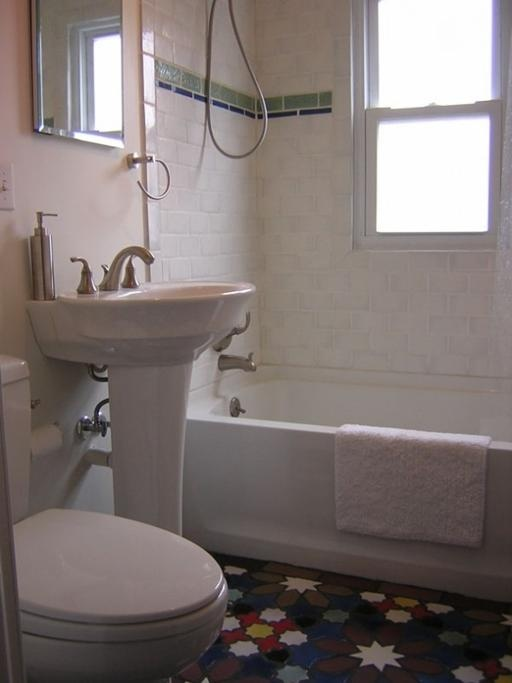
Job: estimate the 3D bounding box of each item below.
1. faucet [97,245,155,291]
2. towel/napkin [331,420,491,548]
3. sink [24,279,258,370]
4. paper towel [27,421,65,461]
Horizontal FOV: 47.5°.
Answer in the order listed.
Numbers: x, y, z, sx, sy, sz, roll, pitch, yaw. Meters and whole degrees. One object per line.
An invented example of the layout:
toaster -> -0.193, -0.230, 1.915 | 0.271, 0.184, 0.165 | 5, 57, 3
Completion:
faucet -> -0.344, -0.205, 1.645 | 0.230, 0.150, 0.100 | 10, 12, 42
towel/napkin -> 0.476, 0.437, 1.773 | 0.437, 0.342, 0.169 | 0, 4, 23
sink -> -0.283, -0.038, 1.416 | 0.296, 0.114, 0.332 | 2, 9, 14
paper towel -> -0.565, 0.256, 1.525 | 0.073, 0.075, 0.119 | -19, -6, 24
